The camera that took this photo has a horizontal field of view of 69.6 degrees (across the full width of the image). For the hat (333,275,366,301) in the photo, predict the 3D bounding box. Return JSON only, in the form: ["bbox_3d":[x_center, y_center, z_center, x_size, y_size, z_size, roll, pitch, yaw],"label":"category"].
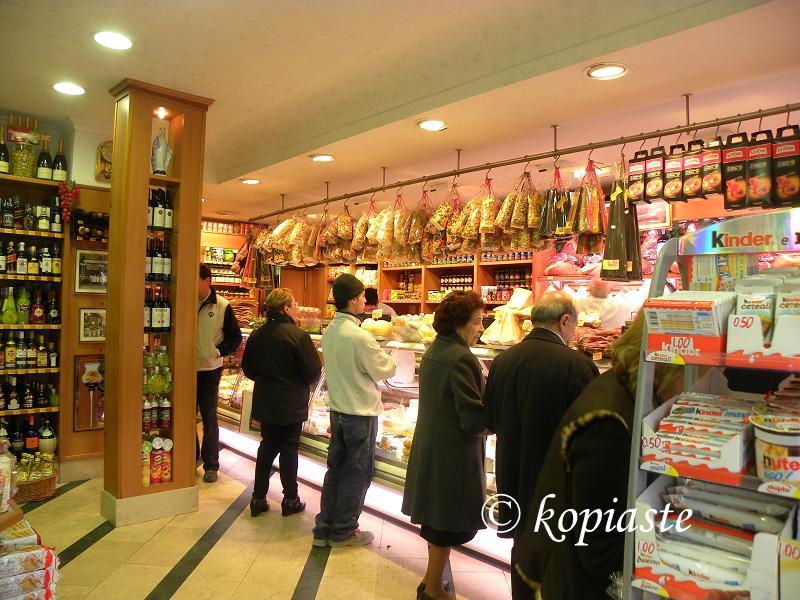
[{"bbox_3d":[-0.376,-0.094,4.102,0.194,0.142,0.193,-7,5,-3],"label":"hat"}]

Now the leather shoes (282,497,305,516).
[{"bbox_3d":[-0.845,1.645,4.613,0.086,0.140,0.207,4,6,43],"label":"leather shoes"}]

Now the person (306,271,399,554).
[{"bbox_3d":[-0.320,0.914,4.027,0.512,1.646,0.223,1,2,16],"label":"person"}]

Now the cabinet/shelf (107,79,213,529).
[{"bbox_3d":[-1.941,0.013,4.573,0.773,3.383,0.390,-1,3,-36],"label":"cabinet/shelf"}]

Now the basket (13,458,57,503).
[{"bbox_3d":[-3.078,1.547,4.857,0.294,0.285,0.265,-1,3,-37],"label":"basket"}]

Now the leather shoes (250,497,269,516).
[{"bbox_3d":[-1.094,1.639,4.565,0.095,0.118,0.178,1,2,10],"label":"leather shoes"}]
